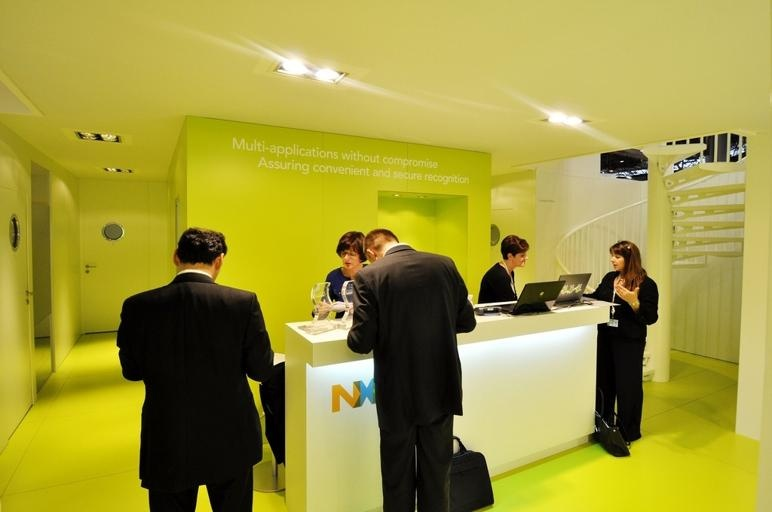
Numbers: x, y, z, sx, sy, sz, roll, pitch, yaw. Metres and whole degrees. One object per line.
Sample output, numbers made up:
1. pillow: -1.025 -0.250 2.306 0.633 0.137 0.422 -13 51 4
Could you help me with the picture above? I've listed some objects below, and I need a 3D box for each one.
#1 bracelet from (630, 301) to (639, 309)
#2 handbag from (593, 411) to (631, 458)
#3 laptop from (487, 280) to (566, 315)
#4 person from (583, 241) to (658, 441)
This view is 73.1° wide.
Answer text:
1. bracelet: 2.681 0.533 5.636 0.076 0.076 0.023 -39 13 29
2. handbag: 2.407 1.943 5.583 0.385 0.321 0.245 7 15 29
3. laptop: 1.442 0.365 5.170 0.502 0.367 0.345 -3 20 -21
4. person: 2.604 0.949 5.802 0.642 2.158 0.593 8 15 30
